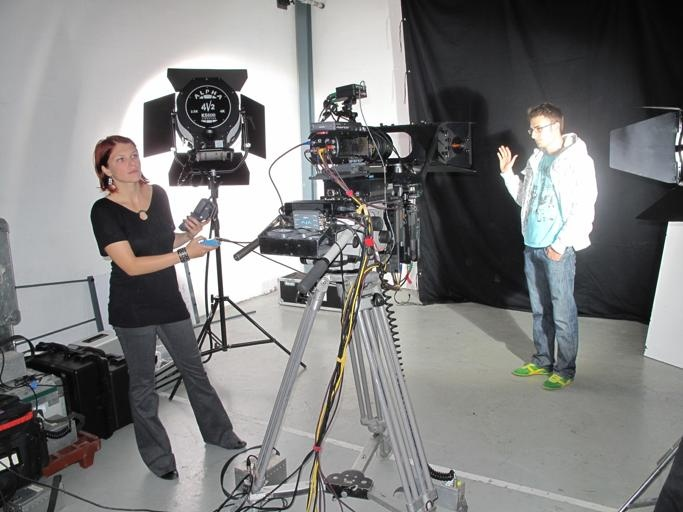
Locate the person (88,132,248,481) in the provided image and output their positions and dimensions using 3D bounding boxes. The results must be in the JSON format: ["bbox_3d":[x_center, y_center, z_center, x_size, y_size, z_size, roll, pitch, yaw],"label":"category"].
[{"bbox_3d":[-1.025,0.298,2.778,0.649,1.965,0.489,-3,10,-4],"label":"person"}]

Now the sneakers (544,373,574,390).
[{"bbox_3d":[1.624,0.930,3.607,0.262,0.120,0.096,-3,1,-27],"label":"sneakers"}]

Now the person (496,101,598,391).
[{"bbox_3d":[1.533,-0.075,3.593,0.418,2.065,0.538,-7,11,-21],"label":"person"}]

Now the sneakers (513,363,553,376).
[{"bbox_3d":[1.504,0.875,3.745,0.243,0.109,0.116,1,-4,2],"label":"sneakers"}]

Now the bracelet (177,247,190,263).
[{"bbox_3d":[-0.843,-0.001,2.570,0.060,0.090,0.093,4,8,12],"label":"bracelet"}]

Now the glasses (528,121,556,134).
[{"bbox_3d":[1.455,-0.924,3.498,0.103,0.091,0.194,-12,14,-42],"label":"glasses"}]
